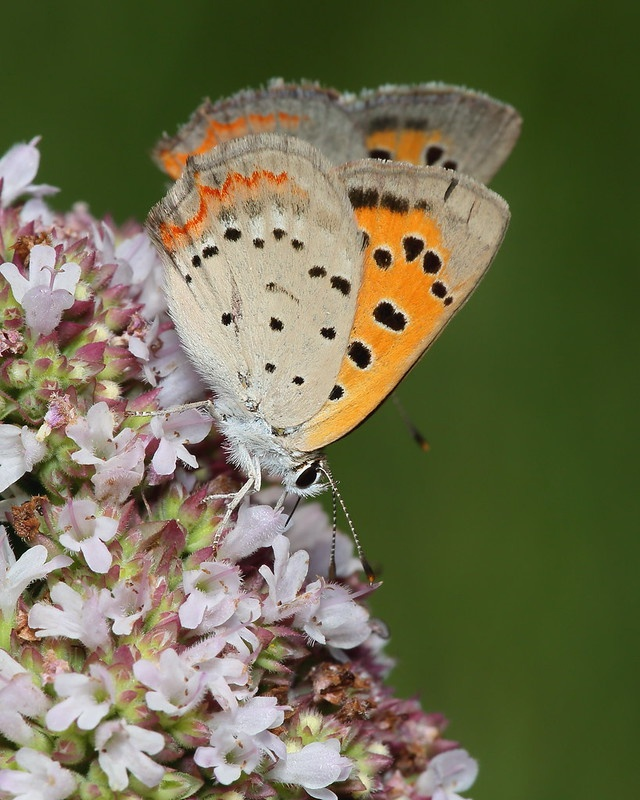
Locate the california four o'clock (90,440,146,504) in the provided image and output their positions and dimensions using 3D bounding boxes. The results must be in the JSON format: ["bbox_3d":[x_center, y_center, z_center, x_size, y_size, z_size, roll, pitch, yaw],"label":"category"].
[{"bbox_3d":[-0.451,0.166,2.057,0.111,0.139,0.117,-4,7,-31],"label":"california four o'clock"}]

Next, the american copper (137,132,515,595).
[{"bbox_3d":[-0.082,-0.237,2.438,0.881,0.779,0.850,18,-43,-14],"label":"american copper"}]

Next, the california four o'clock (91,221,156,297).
[{"bbox_3d":[-0.532,-0.387,2.462,0.146,0.133,0.243,-10,-66,-20],"label":"california four o'clock"}]
